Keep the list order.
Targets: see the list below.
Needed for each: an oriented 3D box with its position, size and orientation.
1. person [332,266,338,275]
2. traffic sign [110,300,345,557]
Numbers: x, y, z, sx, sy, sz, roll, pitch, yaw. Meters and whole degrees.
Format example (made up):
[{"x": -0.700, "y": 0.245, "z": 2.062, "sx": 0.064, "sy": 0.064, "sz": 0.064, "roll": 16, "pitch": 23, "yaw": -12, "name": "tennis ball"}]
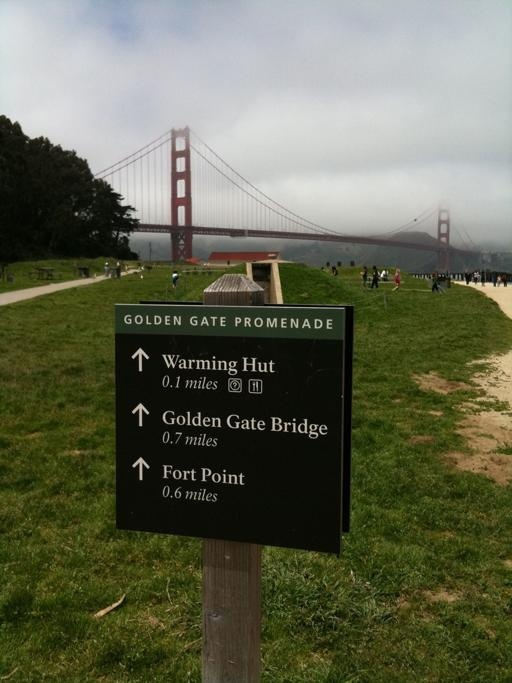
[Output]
[{"x": 5.950, "y": -5.475, "z": 48.240, "sx": 0.514, "sy": 0.718, "sz": 1.540, "roll": 0, "pitch": 12, "yaw": 7, "name": "person"}, {"x": -0.128, "y": 0.583, "z": 4.792, "sx": 1.860, "sy": 1.771, "sz": 0.601, "roll": 1, "pitch": 3, "yaw": 22, "name": "traffic sign"}]
